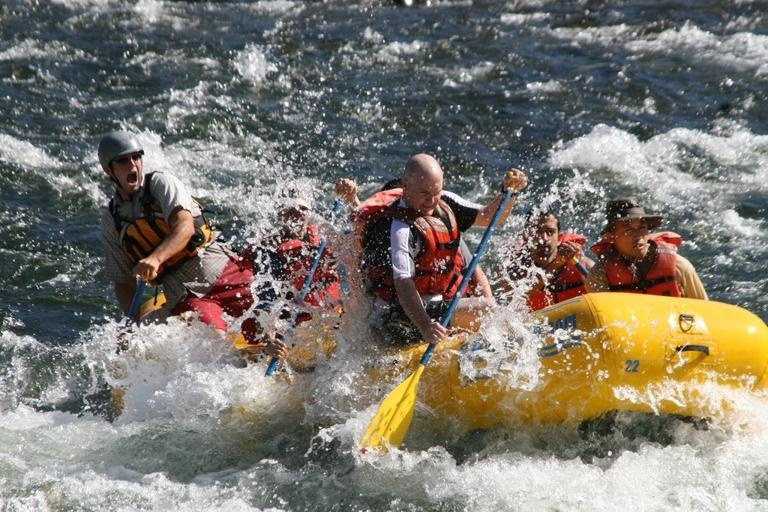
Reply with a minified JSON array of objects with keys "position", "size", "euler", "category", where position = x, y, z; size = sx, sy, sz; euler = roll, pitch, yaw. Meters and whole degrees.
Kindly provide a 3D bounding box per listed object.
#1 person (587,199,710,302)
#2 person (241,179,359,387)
[{"position":[3.232,0.018,15.379],"size":[1.063,0.708,1.509],"euler":[-12,70,-7],"category":"person"},{"position":[-1.074,0.444,15.809],"size":[0.843,1.498,2.616],"euler":[-18,36,35],"category":"person"}]
